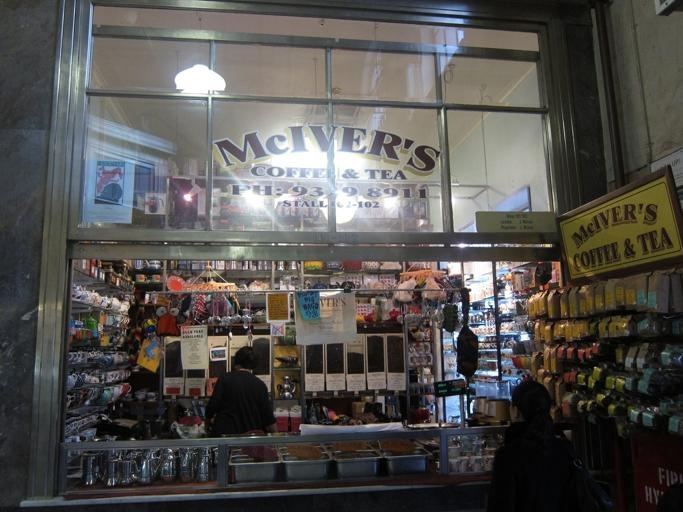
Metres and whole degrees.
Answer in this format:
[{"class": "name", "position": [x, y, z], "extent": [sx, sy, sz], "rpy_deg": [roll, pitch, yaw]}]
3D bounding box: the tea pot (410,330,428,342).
[{"class": "tea pot", "position": [0.993, 1.033, 7.985], "extent": [0.149, 0.109, 0.152], "rpy_deg": [0, -5, 0]}]
